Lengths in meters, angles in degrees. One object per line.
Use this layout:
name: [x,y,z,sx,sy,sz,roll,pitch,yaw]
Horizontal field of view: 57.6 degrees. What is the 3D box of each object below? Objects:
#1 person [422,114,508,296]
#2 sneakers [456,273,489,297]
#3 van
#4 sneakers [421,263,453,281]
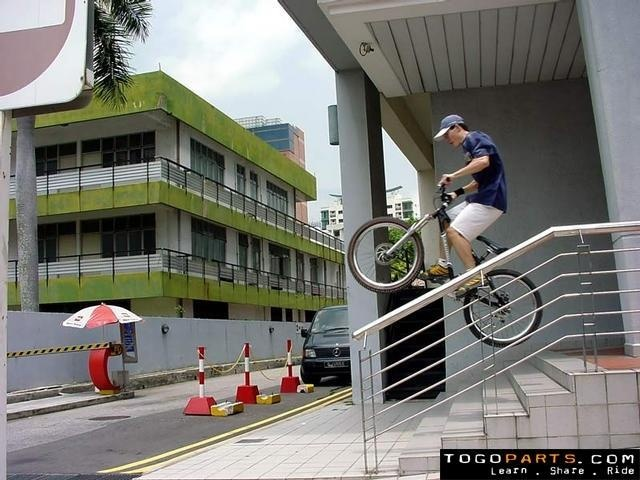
person: [1.969,-0.578,7.722,0.968,2.496,0.810,-6,-12,17]
sneakers: [1.926,0.582,7.458,0.469,0.184,0.280,-36,-6,9]
van: [0.162,2.888,16.166,1.269,1.399,2.558,-3,-15,9]
sneakers: [1.565,0.428,7.815,0.439,0.228,0.203,1,-2,0]
